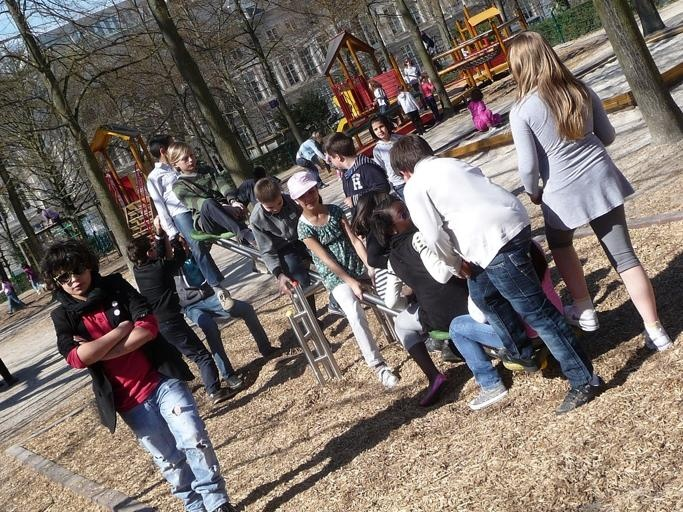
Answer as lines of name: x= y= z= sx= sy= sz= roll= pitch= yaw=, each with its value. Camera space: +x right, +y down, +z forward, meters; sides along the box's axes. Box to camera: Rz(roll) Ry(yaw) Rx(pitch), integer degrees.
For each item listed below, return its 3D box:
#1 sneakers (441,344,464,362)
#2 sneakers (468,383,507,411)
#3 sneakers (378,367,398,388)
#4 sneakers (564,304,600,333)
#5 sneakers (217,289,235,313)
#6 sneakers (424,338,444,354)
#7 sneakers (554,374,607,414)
sneakers: x=0.995 y=0.894 z=5.518 sx=0.177 sy=0.193 sz=0.079 roll=10 pitch=38 yaw=5
sneakers: x=1.192 y=1.145 z=4.885 sx=0.369 sy=0.178 sz=0.148 roll=-30 pitch=9 yaw=40
sneakers: x=0.444 y=1.184 z=5.912 sx=0.140 sy=0.087 sz=0.225 roll=-33 pitch=21 yaw=-16
sneakers: x=1.985 y=0.496 z=5.088 sx=0.136 sy=0.187 sz=0.383 roll=-7 pitch=18 yaw=-11
sneakers: x=-1.510 y=0.547 z=7.918 sx=0.144 sy=0.163 sz=0.416 roll=-36 pitch=43 yaw=7
sneakers: x=0.868 y=0.832 z=5.615 sx=0.145 sy=0.163 sz=0.107 roll=-3 pitch=3 yaw=8
sneakers: x=1.752 y=1.010 z=4.392 sx=0.299 sy=0.123 sz=0.105 roll=-36 pitch=27 yaw=14
